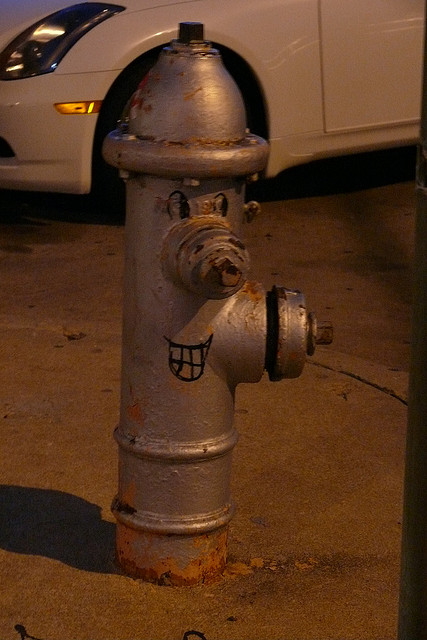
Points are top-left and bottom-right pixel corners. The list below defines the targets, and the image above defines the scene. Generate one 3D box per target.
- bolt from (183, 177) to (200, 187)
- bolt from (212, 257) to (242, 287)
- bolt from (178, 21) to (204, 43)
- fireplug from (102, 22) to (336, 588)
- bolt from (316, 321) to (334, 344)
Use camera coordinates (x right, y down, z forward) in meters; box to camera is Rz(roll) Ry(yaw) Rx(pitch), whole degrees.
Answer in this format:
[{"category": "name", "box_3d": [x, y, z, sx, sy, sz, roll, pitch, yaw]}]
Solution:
[{"category": "bolt", "box_3d": [-0.044, -0.270, 1.215, 0.029, 0.017, 0.016, 0, 22, -1]}, {"category": "bolt", "box_3d": [0.023, -0.085, 1.113, 0.047, 0.049, 0.035, -2, 27, -8]}, {"category": "bolt", "box_3d": [-0.042, -0.593, 1.286, 0.058, 0.047, 0.054, 0, 9, -1]}, {"category": "fireplug", "box_3d": [-0.011, 0.028, 1.408, 0.403, 1.289, 0.453, -7, 16, -42]}, {"category": "bolt", "box_3d": [0.260, 0.032, 1.493, 0.066, 0.052, 0.035, -1, 8, 0]}]
